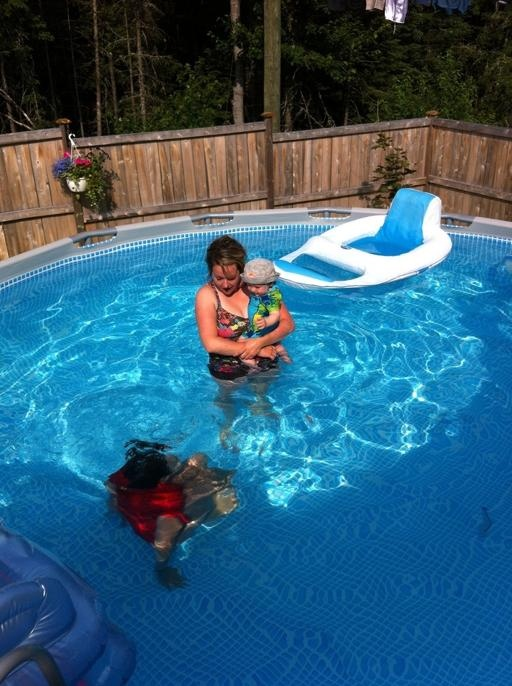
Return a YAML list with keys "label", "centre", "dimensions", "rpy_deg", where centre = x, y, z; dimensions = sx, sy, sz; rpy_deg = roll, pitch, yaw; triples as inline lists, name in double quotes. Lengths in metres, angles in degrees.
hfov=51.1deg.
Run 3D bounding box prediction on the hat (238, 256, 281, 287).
- label: "hat"
  centre: [0.023, -0.409, 3.102]
  dimensions: [0.175, 0.144, 0.177]
  rpy_deg: [12, 24, 32]
